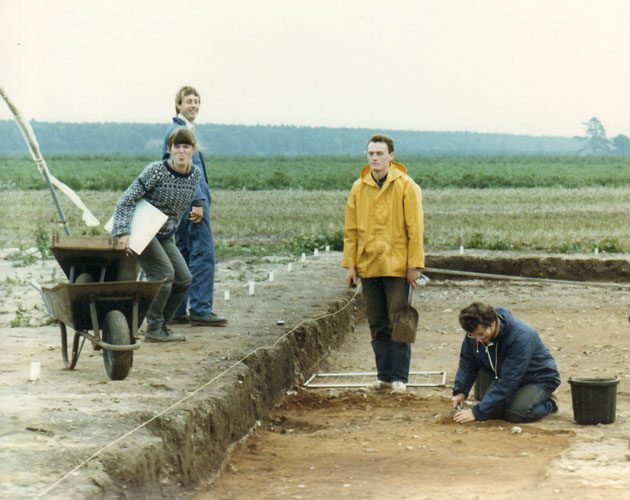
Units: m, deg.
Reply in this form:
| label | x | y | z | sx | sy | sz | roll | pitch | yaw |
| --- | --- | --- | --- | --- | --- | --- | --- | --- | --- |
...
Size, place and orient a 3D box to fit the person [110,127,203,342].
| label | x | y | z | sx | sy | sz | roll | pitch | yaw |
| --- | --- | --- | --- | --- | --- | --- | --- | --- | --- |
| person | -1.729 | -0.176 | 15.215 | 1.070 | 2.290 | 0.927 | 2 | -2 | -10 |

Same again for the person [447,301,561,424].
| label | x | y | z | sx | sy | sz | roll | pitch | yaw |
| --- | --- | --- | --- | --- | --- | --- | --- | --- | --- |
| person | 2.010 | 1.182 | 14.562 | 1.078 | 1.276 | 1.198 | 6 | 8 | 40 |

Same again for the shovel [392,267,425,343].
| label | x | y | z | sx | sy | sz | roll | pitch | yaw |
| --- | --- | --- | --- | --- | --- | --- | --- | --- | --- |
| shovel | 1.029 | 0.621 | 15.009 | 0.255 | 0.758 | 0.298 | 7 | -6 | 9 |

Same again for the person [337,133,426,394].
| label | x | y | z | sx | sy | sz | roll | pitch | yaw |
| --- | --- | --- | --- | --- | --- | --- | --- | --- | --- |
| person | 0.783 | 0.125 | 15.175 | 0.958 | 2.769 | 0.714 | 1 | 4 | 28 |

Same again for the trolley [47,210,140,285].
| label | x | y | z | sx | sy | sz | roll | pitch | yaw |
| --- | --- | --- | --- | --- | --- | --- | --- | --- | --- |
| trolley | -2.350 | 0.072 | 14.720 | 0.941 | 0.516 | 0.420 | 3 | 13 | -11 |
